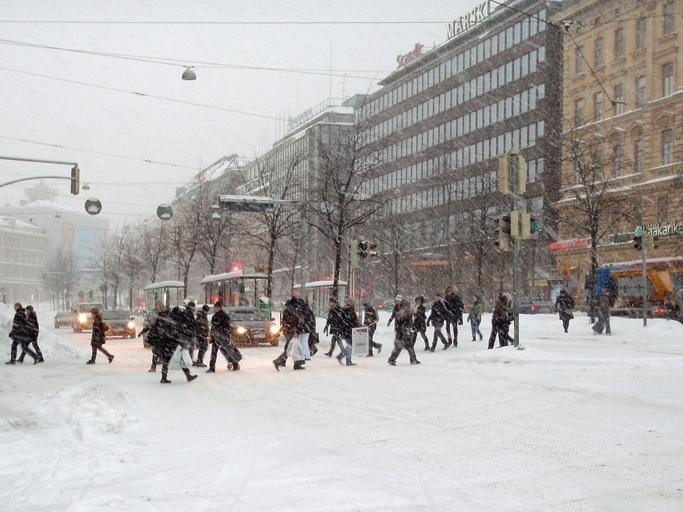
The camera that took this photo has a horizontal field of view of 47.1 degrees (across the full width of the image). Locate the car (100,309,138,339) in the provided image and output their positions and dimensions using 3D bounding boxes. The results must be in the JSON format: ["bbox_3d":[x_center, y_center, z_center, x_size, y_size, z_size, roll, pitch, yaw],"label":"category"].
[{"bbox_3d":[-10.984,3.315,38.568,1.110,1.109,2.030,1,-9,-20],"label":"car"}]

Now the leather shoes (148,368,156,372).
[{"bbox_3d":[-5.122,3.054,21.043,0.167,0.195,0.094,5,-6,7],"label":"leather shoes"}]

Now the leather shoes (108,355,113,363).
[{"bbox_3d":[-6.931,3.053,23.393,0.089,0.341,0.127,-7,35,-18],"label":"leather shoes"}]

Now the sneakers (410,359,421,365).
[{"bbox_3d":[2.074,2.941,21.880,0.286,0.234,0.138,-6,4,-11],"label":"sneakers"}]

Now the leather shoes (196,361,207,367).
[{"bbox_3d":[-3.954,3.048,22.079,0.320,0.275,0.131,1,1,-15],"label":"leather shoes"}]

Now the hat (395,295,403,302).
[{"bbox_3d":[1.607,1.181,22.069,0.164,0.225,0.200,3,-7,-25],"label":"hat"}]

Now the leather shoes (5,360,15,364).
[{"bbox_3d":[-9.918,3.144,23.323,0.244,0.191,0.095,5,-2,10],"label":"leather shoes"}]

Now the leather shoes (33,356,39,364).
[{"bbox_3d":[-9.116,3.091,23.347,0.059,0.206,0.180,5,-9,-36],"label":"leather shoes"}]

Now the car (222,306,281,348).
[{"bbox_3d":[-3.383,2.644,29.449,1.184,1.115,2.729,1,-6,-23],"label":"car"}]

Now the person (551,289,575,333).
[{"bbox_3d":[9.115,2.201,31.907,0.633,1.743,1.838,0,0,17],"label":"person"}]

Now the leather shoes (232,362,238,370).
[{"bbox_3d":[-2.836,2.951,20.965,0.114,0.187,0.058,4,-3,2],"label":"leather shoes"}]

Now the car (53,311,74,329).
[{"bbox_3d":[-19.102,4.389,53.671,1.530,1.363,2.620,2,-8,-28],"label":"car"}]

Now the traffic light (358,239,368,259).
[{"bbox_3d":[0.744,-0.250,28.104,0.374,0.580,0.131,2,0,-37],"label":"traffic light"}]

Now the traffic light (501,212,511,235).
[{"bbox_3d":[4.615,-0.897,21.944,0.246,0.614,0.619,0,0,9],"label":"traffic light"}]

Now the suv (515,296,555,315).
[{"bbox_3d":[12.947,3.418,53.089,1.327,1.331,2.419,0,2,-18],"label":"suv"}]

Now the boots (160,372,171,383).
[{"bbox_3d":[-4.137,2.830,18.313,0.245,0.228,0.560,0,0,-13],"label":"boots"}]

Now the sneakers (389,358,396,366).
[{"bbox_3d":[1.393,2.929,21.810,0.135,0.201,0.200,8,-4,18],"label":"sneakers"}]

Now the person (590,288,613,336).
[{"bbox_3d":[10.086,2.170,30.224,0.631,1.667,2.219,0,0,19],"label":"person"}]

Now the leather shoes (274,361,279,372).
[{"bbox_3d":[-1.729,2.889,20.684,0.099,0.321,0.118,-9,1,-19],"label":"leather shoes"}]

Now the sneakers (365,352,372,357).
[{"bbox_3d":[0.884,3.174,25.351,0.187,0.082,0.138,-10,1,-7],"label":"sneakers"}]

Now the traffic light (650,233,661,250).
[{"bbox_3d":[16.918,-0.796,42.124,0.235,1.128,1.099,-2,-36,13],"label":"traffic light"}]
